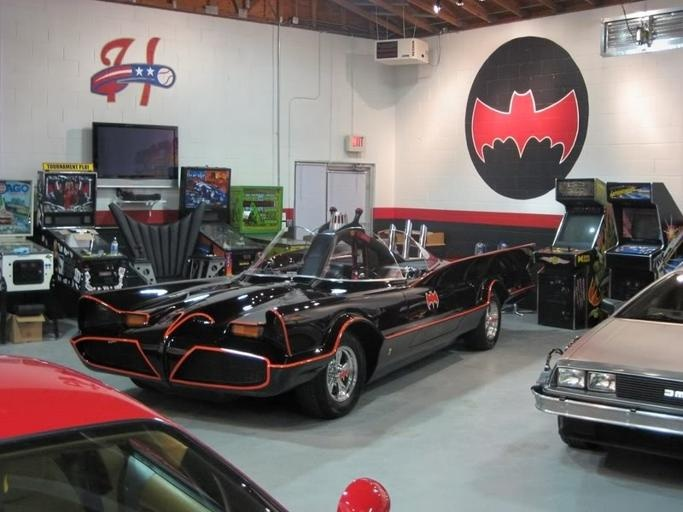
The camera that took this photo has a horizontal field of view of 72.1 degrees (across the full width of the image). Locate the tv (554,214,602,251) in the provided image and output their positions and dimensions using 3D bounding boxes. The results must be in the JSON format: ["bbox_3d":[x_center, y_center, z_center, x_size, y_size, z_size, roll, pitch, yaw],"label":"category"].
[{"bbox_3d":[3.400,-0.375,6.744,0.598,0.493,0.434,5,7,31],"label":"tv"}]

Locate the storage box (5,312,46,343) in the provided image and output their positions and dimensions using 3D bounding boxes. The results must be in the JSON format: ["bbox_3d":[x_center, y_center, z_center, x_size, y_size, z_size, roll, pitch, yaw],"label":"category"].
[{"bbox_3d":[-3.889,0.856,5.695,0.499,0.346,0.222,2,6,7],"label":"storage box"}]

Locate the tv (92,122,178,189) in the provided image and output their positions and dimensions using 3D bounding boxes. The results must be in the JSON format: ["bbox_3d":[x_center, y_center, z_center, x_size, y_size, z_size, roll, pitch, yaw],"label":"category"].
[{"bbox_3d":[-3.232,-1.583,7.248,1.212,0.787,0.119,-4,10,-33],"label":"tv"}]

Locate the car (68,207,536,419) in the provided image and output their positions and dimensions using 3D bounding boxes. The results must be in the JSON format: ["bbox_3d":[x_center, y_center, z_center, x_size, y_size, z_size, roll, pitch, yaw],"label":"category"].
[{"bbox_3d":[0.138,0.504,4.385,1.710,1.110,3.582,-5,-3,38],"label":"car"}]
